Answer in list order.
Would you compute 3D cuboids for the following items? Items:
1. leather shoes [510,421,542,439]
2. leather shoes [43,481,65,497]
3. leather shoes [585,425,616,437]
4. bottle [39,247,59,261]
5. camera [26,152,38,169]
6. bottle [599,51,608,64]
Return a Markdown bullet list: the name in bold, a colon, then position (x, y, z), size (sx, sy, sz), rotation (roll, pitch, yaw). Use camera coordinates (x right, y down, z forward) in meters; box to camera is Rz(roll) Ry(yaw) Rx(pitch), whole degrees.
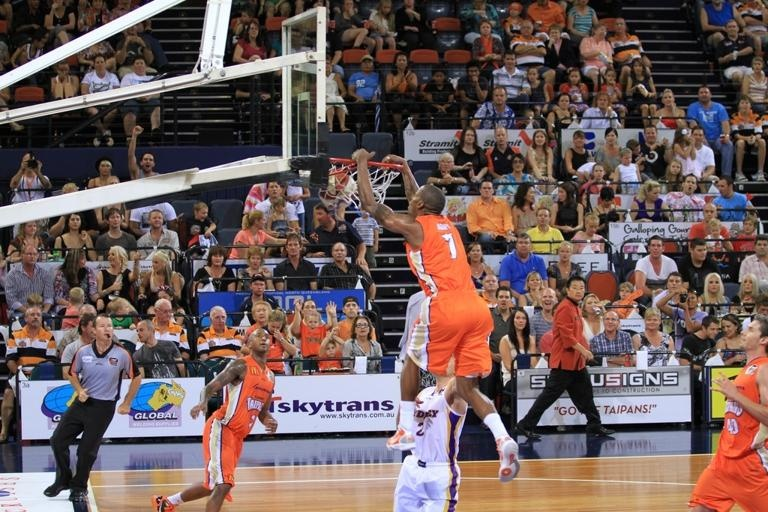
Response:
- **leather shoes**: position (2.517, 3.024, 26.236), size (0.602, 0.303, 0.209), rotation (13, 4, 20)
- **leather shoes**: position (-5.222, 3.643, 23.641), size (0.379, 0.171, 0.165), rotation (-11, 21, -7)
- **leather shoes**: position (3.828, 3.036, 26.330), size (0.516, 0.240, 0.192), rotation (0, 1, 0)
- **bottle**: position (-6.173, -0.037, 27.643), size (0.462, 0.256, 0.266), rotation (-2, 21, -8)
- **camera**: position (-6.875, -1.876, 29.207), size (0.203, 0.161, 0.353), rotation (-1, 6, -18)
- **bottle**: position (4.932, -4.418, 33.405), size (0.190, 0.246, 0.064), rotation (-14, -9, -43)
